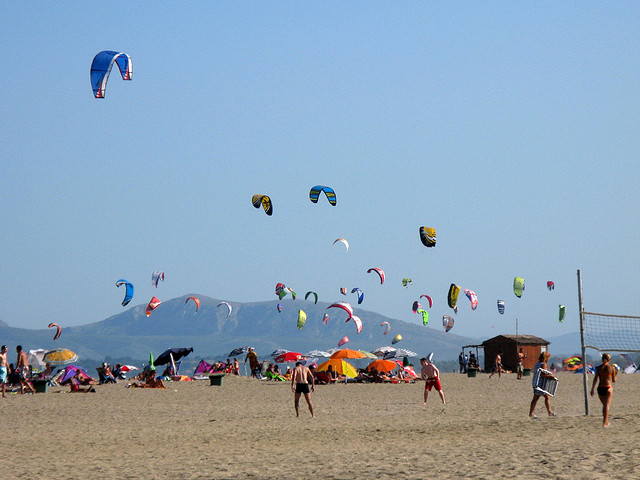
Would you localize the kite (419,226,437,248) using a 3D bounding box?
[{"bbox_3d":[4.419,-0.067,43.312,0.790,0.904,0.315,-2,2,-22],"label":"kite"}]

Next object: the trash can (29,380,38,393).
[{"bbox_3d":[-10.350,5.325,38.239,0.261,0.424,0.775,3,-8,-17],"label":"trash can"}]

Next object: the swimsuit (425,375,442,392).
[{"bbox_3d":[3.735,4.693,34.385,0.448,0.428,0.607,-1,-8,18],"label":"swimsuit"}]

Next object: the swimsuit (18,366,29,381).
[{"bbox_3d":[-10.336,4.667,36.941,0.390,0.787,0.531,0,1,-17],"label":"swimsuit"}]

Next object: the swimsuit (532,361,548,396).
[{"bbox_3d":[6.381,4.037,30.166,0.210,0.833,0.583,11,-4,-13],"label":"swimsuit"}]

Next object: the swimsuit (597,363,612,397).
[{"bbox_3d":[7.669,3.780,28.385,0.402,0.839,0.269,3,0,7],"label":"swimsuit"}]

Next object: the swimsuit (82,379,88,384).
[{"bbox_3d":[-9.147,5.578,41.244,0.168,0.172,0.374,2,-8,-3],"label":"swimsuit"}]

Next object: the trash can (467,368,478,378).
[{"bbox_3d":[7.175,6.269,49.555,0.401,0.349,0.336,1,-3,6],"label":"trash can"}]

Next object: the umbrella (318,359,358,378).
[{"bbox_3d":[0.751,5.506,45.452,0.939,0.500,0.992,-2,-13,34],"label":"umbrella"}]

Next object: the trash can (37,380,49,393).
[{"bbox_3d":[-9.949,5.287,38.017,0.318,0.464,0.430,-1,1,-43],"label":"trash can"}]

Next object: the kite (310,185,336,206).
[{"bbox_3d":[0.137,-2.168,49.770,1.148,0.965,3.215,1,-8,-1],"label":"kite"}]

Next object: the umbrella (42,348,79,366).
[{"bbox_3d":[-11.140,5.105,45.297,1.432,0.728,2.897,3,-8,-15],"label":"umbrella"}]

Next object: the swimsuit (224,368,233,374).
[{"bbox_3d":[-4.338,6.241,50.102,0.371,0.214,0.707,1,-8,2],"label":"swimsuit"}]

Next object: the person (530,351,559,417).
[{"bbox_3d":[6.450,4.164,30.264,0.683,1.900,0.669,4,-2,17],"label":"person"}]

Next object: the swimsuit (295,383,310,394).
[{"bbox_3d":[-0.498,4.398,31.158,0.363,0.313,0.234,1,2,-7],"label":"swimsuit"}]

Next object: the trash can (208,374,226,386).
[{"bbox_3d":[-4.234,5.748,43.042,0.449,0.407,0.496,0,-4,1],"label":"trash can"}]
